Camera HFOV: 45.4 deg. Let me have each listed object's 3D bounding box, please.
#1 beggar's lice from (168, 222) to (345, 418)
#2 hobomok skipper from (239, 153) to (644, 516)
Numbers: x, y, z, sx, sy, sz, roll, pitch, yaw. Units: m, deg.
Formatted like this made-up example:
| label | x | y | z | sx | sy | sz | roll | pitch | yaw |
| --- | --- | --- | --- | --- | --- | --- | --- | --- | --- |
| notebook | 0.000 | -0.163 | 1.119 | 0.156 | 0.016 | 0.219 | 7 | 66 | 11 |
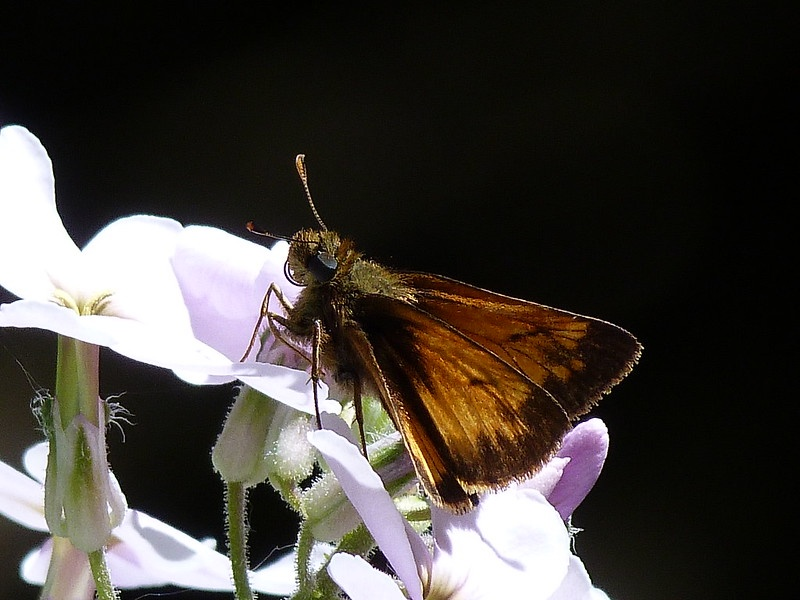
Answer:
| label | x | y | z | sx | sy | sz | roll | pitch | yaw |
| --- | --- | --- | --- | --- | --- | --- | --- | --- | --- |
| beggar's lice | -0.169 | 0.018 | 0.984 | 0.090 | 0.198 | 0.186 | -16 | -42 | 2 |
| hobomok skipper | 0.047 | 0.074 | 1.070 | 0.406 | 0.243 | 0.428 | 11 | -20 | 27 |
